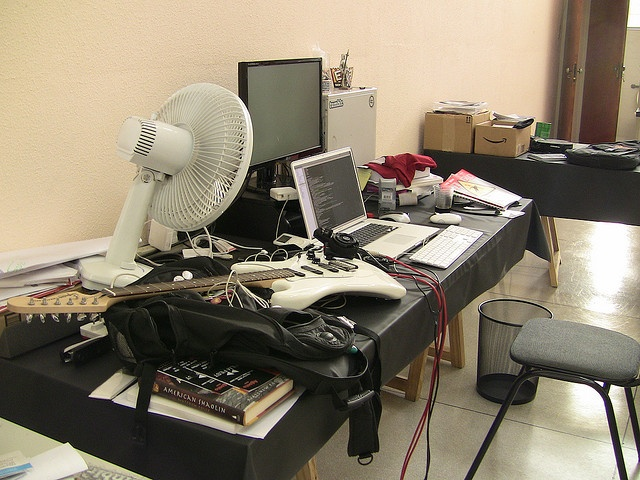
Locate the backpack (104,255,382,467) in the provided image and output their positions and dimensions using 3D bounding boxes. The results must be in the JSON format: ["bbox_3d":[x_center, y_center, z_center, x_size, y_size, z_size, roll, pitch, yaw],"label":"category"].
[{"bbox_3d":[-0.178,0.216,1.143,0.566,0.214,0.430,12,18,7],"label":"backpack"}]

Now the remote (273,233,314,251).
[{"bbox_3d":[-0.103,0.003,1.876,0.133,0.032,0.070,15,39,22],"label":"remote"}]

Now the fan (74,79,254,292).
[{"bbox_3d":[-0.454,-0.178,1.513,0.448,0.657,0.384,17,7,5],"label":"fan"}]

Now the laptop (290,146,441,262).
[{"bbox_3d":[0.174,-0.139,1.980,0.495,0.391,0.547,13,25,30],"label":"laptop"}]

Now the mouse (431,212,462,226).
[{"bbox_3d":[0.592,-0.110,2.238,0.093,0.035,0.068,4,17,16],"label":"mouse"}]

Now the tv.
[{"bbox_3d":[-0.174,-0.455,2.006,0.177,0.561,0.550,13,26,33],"label":"tv"}]

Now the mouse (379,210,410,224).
[{"bbox_3d":[0.353,-0.115,2.236,0.102,0.034,0.063,11,27,32],"label":"mouse"}]

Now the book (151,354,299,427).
[{"bbox_3d":[-0.232,0.328,1.077,0.167,0.036,0.169,17,17,21],"label":"book"}]
